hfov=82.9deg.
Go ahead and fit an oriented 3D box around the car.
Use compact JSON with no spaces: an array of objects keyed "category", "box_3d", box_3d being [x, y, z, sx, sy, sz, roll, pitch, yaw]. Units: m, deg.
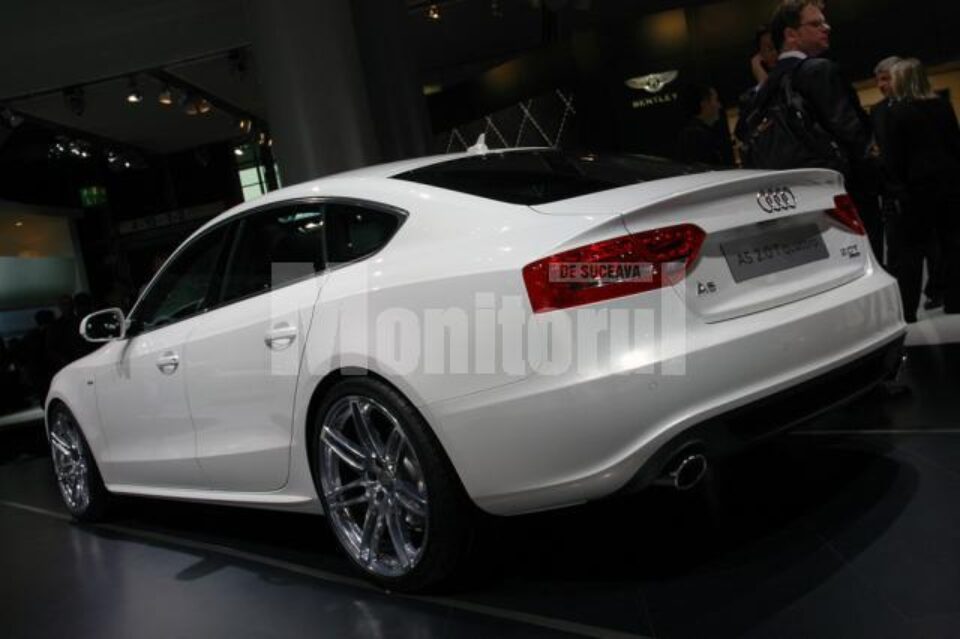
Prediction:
[{"category":"car","box_3d":[-0.285,0.139,2.645,3.676,1.368,1.116,-7,6,33]}]
